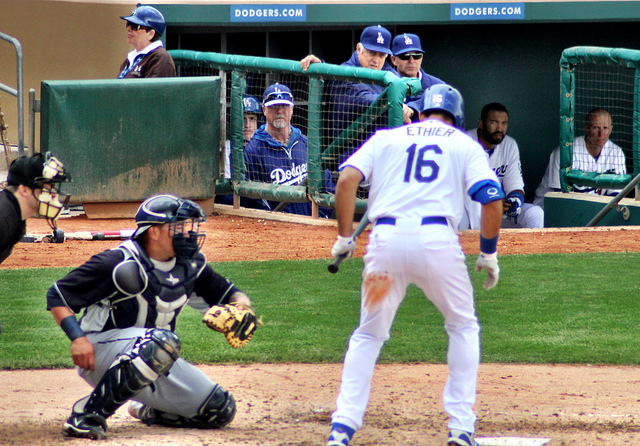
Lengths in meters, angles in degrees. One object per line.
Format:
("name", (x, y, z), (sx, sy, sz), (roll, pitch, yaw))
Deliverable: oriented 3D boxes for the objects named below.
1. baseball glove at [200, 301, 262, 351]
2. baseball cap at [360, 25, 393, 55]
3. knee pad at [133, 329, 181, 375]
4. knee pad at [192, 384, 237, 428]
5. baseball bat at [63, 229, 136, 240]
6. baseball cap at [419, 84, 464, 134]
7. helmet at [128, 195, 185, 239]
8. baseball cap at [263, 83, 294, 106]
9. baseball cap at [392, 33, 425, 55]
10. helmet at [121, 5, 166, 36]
("baseball glove", (-0.726, 0.803, 10.653), (0.400, 0.381, 0.677), (3, 17, -26))
("baseball cap", (0.665, -2.120, 14.645), (0.371, 0.267, 0.471), (-1, 28, -23))
("knee pad", (-1.325, 1.038, 10.433), (0.367, 0.365, 0.161), (-2, 6, -21))
("knee pad", (-0.872, 1.506, 10.623), (0.348, 0.353, 0.094), (0, 6, -9))
("baseball bat", (-2.423, 0.130, 14.207), (0.985, 0.121, 0.136), (-2, -2, 10))
("baseball cap", (1.003, -0.949, 10.644), (0.359, 0.377, 0.240), (1, 6, 3))
("helmet", (-1.326, -0.113, 10.526), (0.331, 0.378, 0.401), (17, 25, 31))
("baseball cap", (-0.506, -1.522, 15.354), (0.346, 0.254, 0.298), (1, 6, 3))
("baseball cap", (1.007, -2.069, 14.925), (0.338, 0.241, 0.202), (1, 6, 1))
("helmet", (-2.002, -2.338, 14.763), (0.459, 0.243, 0.311), (9, 17, -22))
